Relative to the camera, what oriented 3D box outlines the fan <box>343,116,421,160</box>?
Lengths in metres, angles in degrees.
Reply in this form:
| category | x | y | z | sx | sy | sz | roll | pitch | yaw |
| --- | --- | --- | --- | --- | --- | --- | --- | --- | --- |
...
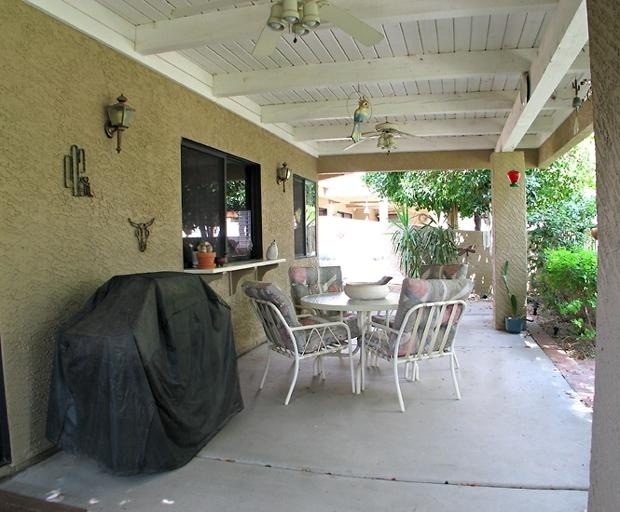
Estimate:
| category | x | y | z | sx | sy | sz | roll | pitch | yaw |
| --- | --- | --- | --- | --- | --- | --- | --- | --- | --- |
| fan | 0.897 | -1.429 | 5.520 | 0.718 | 0.395 | 0.775 | -1 | 3 | 0 |

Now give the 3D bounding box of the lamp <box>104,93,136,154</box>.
| category | x | y | z | sx | sy | sz | roll | pitch | yaw |
| --- | --- | --- | --- | --- | --- | --- | --- | --- | --- |
| lamp | -1.252 | -0.890 | 3.057 | 0.162 | 0.407 | 0.145 | -1 | 0 | 36 |

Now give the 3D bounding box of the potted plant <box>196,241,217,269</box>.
| category | x | y | z | sx | sy | sz | roll | pitch | yaw |
| --- | --- | --- | --- | --- | --- | --- | --- | --- | --- |
| potted plant | -0.871 | -0.018 | 3.949 | 0.180 | 0.258 | 0.190 | -5 | -5 | 25 |
